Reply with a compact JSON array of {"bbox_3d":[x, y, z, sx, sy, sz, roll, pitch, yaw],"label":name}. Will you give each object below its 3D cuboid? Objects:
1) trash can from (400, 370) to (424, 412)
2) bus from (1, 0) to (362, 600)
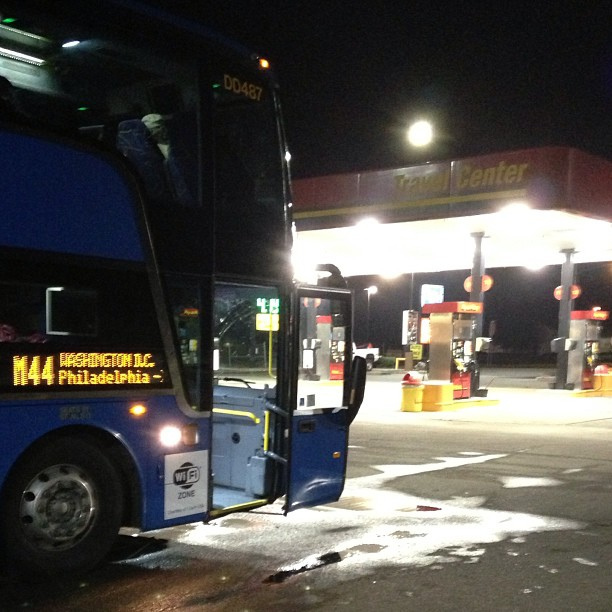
[{"bbox_3d":[2.824,2.329,18.897,0.605,1.011,0.606,2,-2,-28],"label":"trash can"},{"bbox_3d":[-1.263,-0.147,5.784,1.272,4.362,2.917,0,-2,34],"label":"bus"}]
